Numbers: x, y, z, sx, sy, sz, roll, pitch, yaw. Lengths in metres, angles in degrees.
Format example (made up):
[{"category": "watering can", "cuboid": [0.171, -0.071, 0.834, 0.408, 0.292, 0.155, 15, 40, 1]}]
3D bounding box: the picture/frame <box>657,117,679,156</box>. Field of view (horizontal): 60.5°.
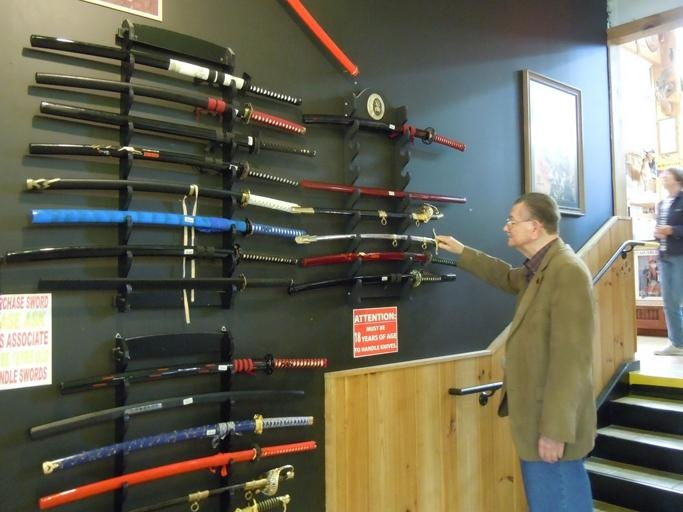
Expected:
[{"category": "picture/frame", "cuboid": [4.083, -1.503, 7.299, 0.084, 0.430, 0.258, -2, 2, -35]}]
